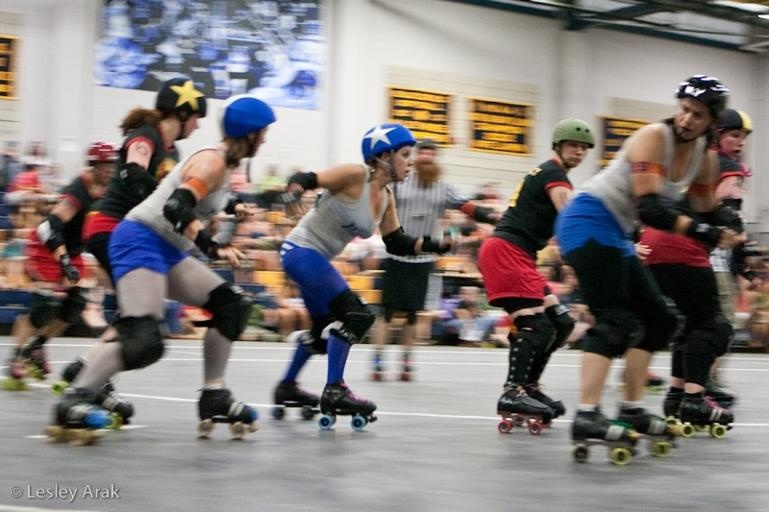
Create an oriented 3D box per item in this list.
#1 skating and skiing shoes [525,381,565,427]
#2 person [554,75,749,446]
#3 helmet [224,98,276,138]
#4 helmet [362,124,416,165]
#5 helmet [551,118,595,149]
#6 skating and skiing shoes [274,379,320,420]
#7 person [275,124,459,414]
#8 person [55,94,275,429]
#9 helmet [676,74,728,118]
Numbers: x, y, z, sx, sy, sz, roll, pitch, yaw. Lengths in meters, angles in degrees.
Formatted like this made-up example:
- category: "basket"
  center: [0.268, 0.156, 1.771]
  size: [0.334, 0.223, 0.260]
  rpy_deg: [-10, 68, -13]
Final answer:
- category: "skating and skiing shoes"
  center: [1.254, 1.137, 6.865]
  size: [0.443, 0.161, 0.153]
  rpy_deg: [11, 9, 38]
- category: "person"
  center: [1.752, 0.036, 5.739]
  size: [1.040, 1.539, 0.734]
  rpy_deg: [3, 3, -17]
- category: "helmet"
  center: [-0.809, -0.939, 5.939]
  size: [0.246, 0.227, 0.313]
  rpy_deg: [-10, 8, -40]
- category: "helmet"
  center: [0.026, -0.820, 6.434]
  size: [0.393, 0.186, 0.262]
  rpy_deg: [-2, 3, 3]
- category: "helmet"
  center: [1.426, -0.930, 6.769]
  size: [0.297, 0.196, 0.227]
  rpy_deg: [2, 0, 34]
- category: "skating and skiing shoes"
  center: [-0.679, 1.097, 6.660]
  size: [0.418, 0.240, 0.247]
  rpy_deg: [0, -1, -4]
- category: "person"
  center: [-0.247, 0.090, 6.477]
  size: [1.025, 2.123, 0.566]
  rpy_deg: [4, 3, -7]
- category: "person"
  center: [-1.392, 0.064, 5.818]
  size: [1.174, 2.291, 0.467]
  rpy_deg: [4, 3, 3]
- category: "helmet"
  center: [1.983, -0.999, 5.536]
  size: [0.321, 0.195, 0.251]
  rpy_deg: [4, 2, 15]
